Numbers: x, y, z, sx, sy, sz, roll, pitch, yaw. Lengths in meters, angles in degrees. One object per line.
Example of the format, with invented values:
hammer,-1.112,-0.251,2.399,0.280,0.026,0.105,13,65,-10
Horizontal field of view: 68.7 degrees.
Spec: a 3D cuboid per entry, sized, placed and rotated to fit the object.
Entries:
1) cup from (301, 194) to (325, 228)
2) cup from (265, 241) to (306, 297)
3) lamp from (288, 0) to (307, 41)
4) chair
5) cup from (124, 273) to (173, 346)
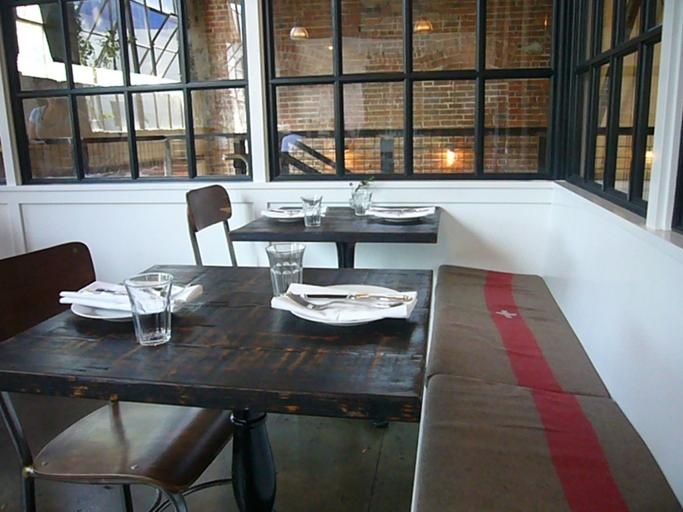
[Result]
cup,-0.146,-0.233,2.599,0.146,0.198,0.161,1,5,0
cup,-0.174,0.033,1.632,0.141,0.184,0.147,1,10,0
lamp,-0.275,-1.416,3.024,0.125,0.148,0.126,14,21,40
chair,-0.779,-0.200,3.039,0.269,0.539,0.316,12,27,18
cup,-0.516,0.147,1.342,0.128,0.173,0.132,2,15,-1
